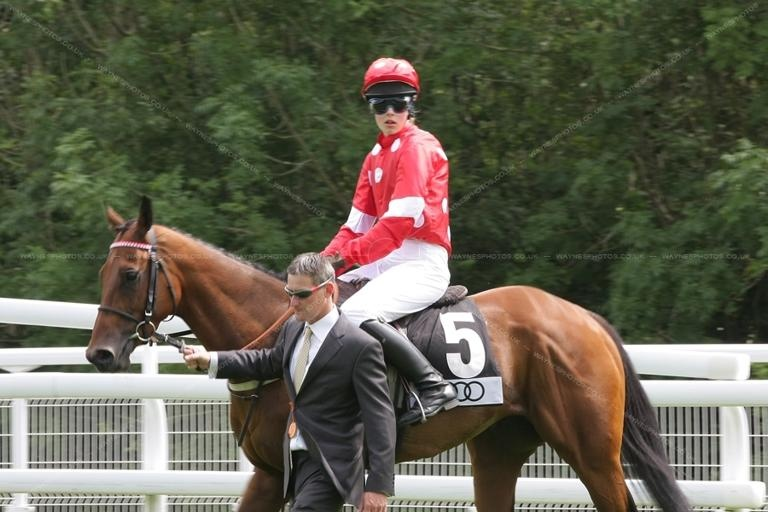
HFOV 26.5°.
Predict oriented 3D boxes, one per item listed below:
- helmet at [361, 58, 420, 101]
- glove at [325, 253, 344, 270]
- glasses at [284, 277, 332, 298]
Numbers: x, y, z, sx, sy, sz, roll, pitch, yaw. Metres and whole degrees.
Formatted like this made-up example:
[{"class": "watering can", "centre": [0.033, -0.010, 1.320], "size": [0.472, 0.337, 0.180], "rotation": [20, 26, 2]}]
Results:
[{"class": "helmet", "centre": [0.040, -0.915, 8.084], "size": [0.299, 0.159, 0.375], "rotation": [-3, 13, 21]}, {"class": "glove", "centre": [-0.261, 0.023, 7.907], "size": [0.101, 0.052, 0.066], "rotation": [16, -3, 34]}, {"class": "glasses", "centre": [-0.345, 0.145, 7.497], "size": [0.145, 0.032, 0.106], "rotation": [-22, 8, -39]}]
